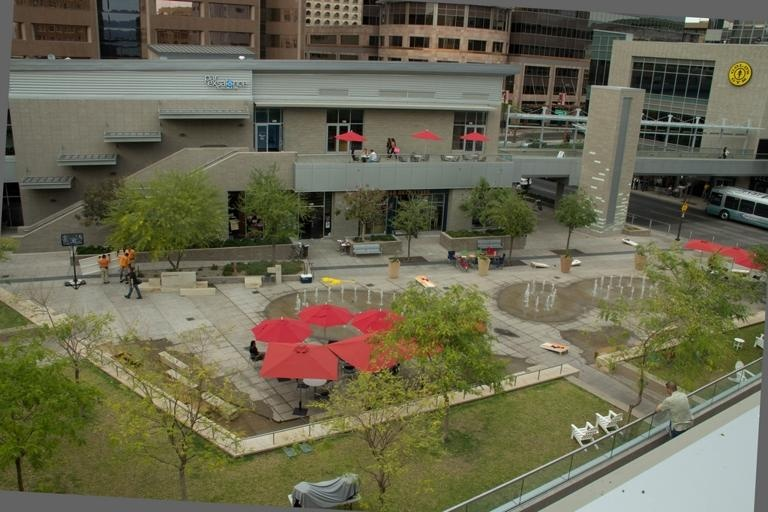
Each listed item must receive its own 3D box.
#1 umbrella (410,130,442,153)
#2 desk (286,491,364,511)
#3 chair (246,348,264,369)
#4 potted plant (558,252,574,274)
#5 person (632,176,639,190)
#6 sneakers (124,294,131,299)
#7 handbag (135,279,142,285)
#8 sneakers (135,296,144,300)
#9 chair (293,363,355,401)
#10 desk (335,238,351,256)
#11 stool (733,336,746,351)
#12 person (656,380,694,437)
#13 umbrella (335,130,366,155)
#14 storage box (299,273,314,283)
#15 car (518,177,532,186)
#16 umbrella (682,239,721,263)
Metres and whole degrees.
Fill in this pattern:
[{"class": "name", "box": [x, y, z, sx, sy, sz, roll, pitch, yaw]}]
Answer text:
[{"class": "umbrella", "box": [2.998, -8.152, 38.373, 1.766, 0.979, 1.509, 1, 18, 1]}, {"class": "desk", "box": [-1.587, 6.683, 14.486, 1.915, 0.420, 1.042, 2, 2, -12]}, {"class": "chair", "box": [-5.044, 4.104, 21.522, 0.711, 0.815, 0.569, -13, 27, -27]}, {"class": "potted plant", "box": [11.087, 0.448, 32.844, 1.010, 1.135, 1.027, -8, 22, -19]}, {"class": "person", "box": [27.777, -8.035, 59.379, 0.636, 1.216, 1.804, 10, 16, 23]}, {"class": "sneakers", "box": [-12.498, 1.917, 26.275, 0.271, 0.183, 0.341, -4, 16, -23]}, {"class": "handbag", "box": [-12.073, 1.246, 26.371, 0.377, 0.295, 0.324, 0, 10, -4]}, {"class": "sneakers", "box": [-11.994, 2.008, 26.354, 0.402, 0.228, 0.133, -8, 19, -31]}, {"class": "chair", "box": [-2.034, 4.389, 19.972, 1.441, 1.119, 1.447, 30, 41, 31]}, {"class": "desk", "box": [-2.516, -0.890, 34.686, 1.005, 1.061, 1.721, -3, 17, -12]}, {"class": "stool", "box": [15.856, 3.873, 24.266, 0.585, 0.547, 0.585, -11, 14, -37]}, {"class": "person", "box": [7.943, 4.014, 14.571, 0.847, 1.459, 1.515, 14, 19, 31]}, {"class": "umbrella", "box": [-2.203, -7.578, 36.443, 1.802, 0.735, 1.651, -5, 26, -33]}, {"class": "storage box", "box": [-4.227, 1.175, 29.343, 0.728, 0.459, 0.604, 0, 15, -11]}, {"class": "car", "box": [13.481, -7.168, 51.544, 0.757, 0.981, 5.961, 8, 15, 16]}, {"class": "umbrella", "box": [18.633, -0.277, 31.708, 1.345, 0.794, 1.282, -24, 38, -30]}]
